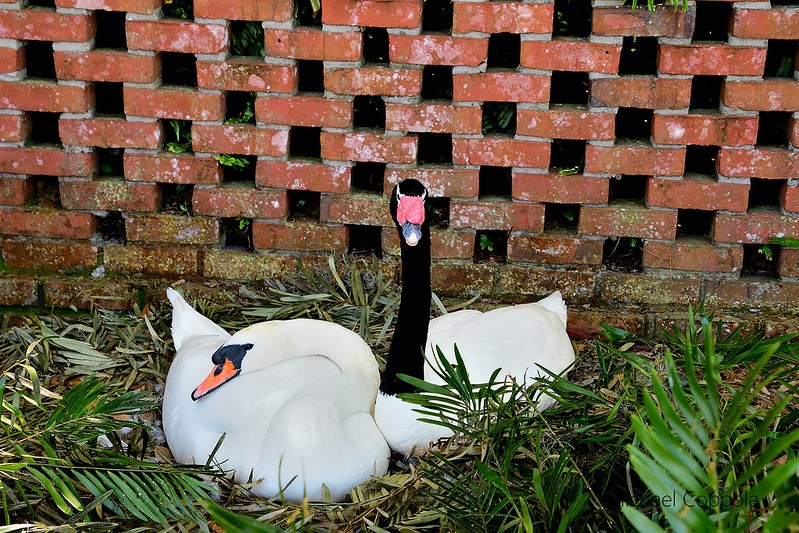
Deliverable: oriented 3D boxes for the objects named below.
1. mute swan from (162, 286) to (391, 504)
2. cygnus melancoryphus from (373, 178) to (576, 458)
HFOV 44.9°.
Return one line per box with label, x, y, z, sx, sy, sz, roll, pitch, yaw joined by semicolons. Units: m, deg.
mute swan;-0.536;0.437;3.541;0.966;0.666;0.637;23;22;25
cygnus melancoryphus;0.216;0.159;3.532;0.795;0.948;1.236;0;-3;1
